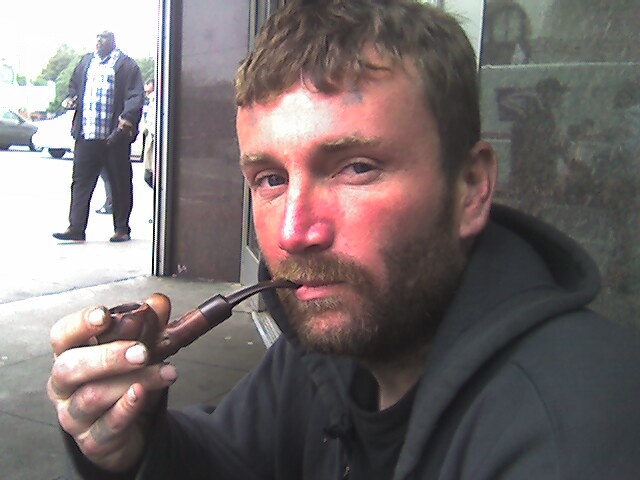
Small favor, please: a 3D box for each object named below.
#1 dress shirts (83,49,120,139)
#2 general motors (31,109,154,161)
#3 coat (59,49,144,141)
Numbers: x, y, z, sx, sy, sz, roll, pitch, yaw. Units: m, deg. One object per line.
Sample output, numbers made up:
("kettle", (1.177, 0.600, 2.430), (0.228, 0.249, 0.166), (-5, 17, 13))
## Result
("dress shirts", (-2.609, -1.685, 6.849), (0.323, 1.234, 0.311), (5, -16, -24))
("general motors", (-6.373, -2.910, 16.111), (2.129, 0.973, 1.166), (3, 42, -38))
("coat", (-2.538, -1.703, 6.910), (0.909, 1.139, 0.555), (0, -4, 6))
